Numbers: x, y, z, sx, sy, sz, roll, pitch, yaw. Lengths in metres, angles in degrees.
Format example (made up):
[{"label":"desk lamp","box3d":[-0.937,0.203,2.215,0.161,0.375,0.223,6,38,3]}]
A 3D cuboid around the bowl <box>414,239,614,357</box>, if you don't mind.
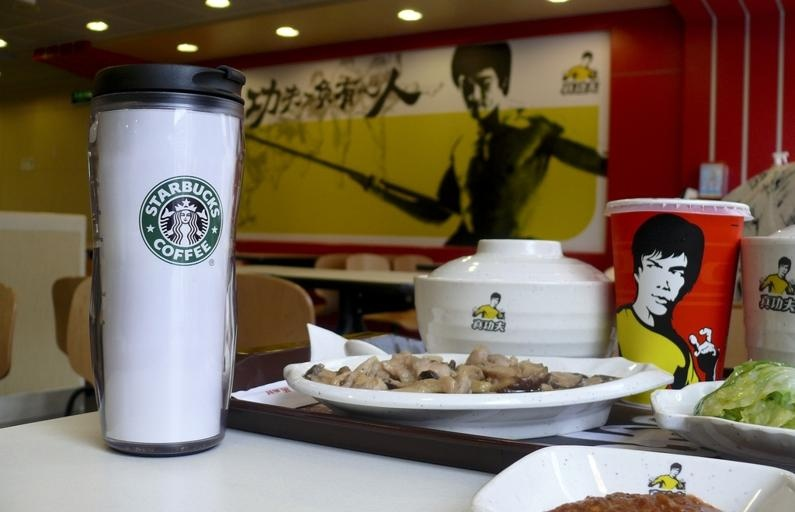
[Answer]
[{"label":"bowl","box3d":[0.161,0.079,0.927,0.271,0.190,0.276,3,-6,0]}]
